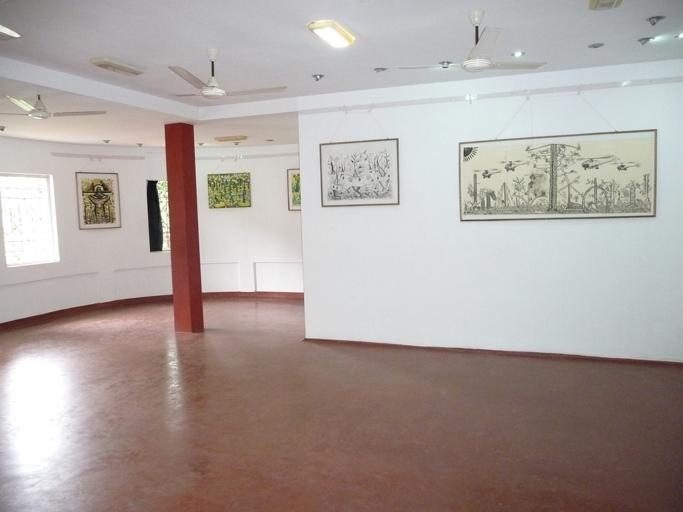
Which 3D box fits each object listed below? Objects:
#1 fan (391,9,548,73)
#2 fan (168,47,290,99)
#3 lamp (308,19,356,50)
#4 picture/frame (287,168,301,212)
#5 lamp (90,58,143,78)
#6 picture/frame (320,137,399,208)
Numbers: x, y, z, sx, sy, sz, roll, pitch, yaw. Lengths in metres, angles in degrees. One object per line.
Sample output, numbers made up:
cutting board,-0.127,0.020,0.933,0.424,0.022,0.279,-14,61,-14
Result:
fan,1.361,-2.027,4.790,0.917,0.353,0.892,6,16,31
fan,-1.274,-1.931,5.312,0.801,0.315,0.759,-2,3,2
lamp,-0.076,-2.203,4.738,0.381,0.178,0.702,0,10,8
picture/frame,-1.064,-1.481,10.560,0.289,0.940,0.143,1,10,16
lamp,-2.562,-2.181,5.462,0.270,0.089,0.510,4,12,29
picture/frame,0.308,-1.228,6.848,0.988,0.831,0.038,1,6,15
